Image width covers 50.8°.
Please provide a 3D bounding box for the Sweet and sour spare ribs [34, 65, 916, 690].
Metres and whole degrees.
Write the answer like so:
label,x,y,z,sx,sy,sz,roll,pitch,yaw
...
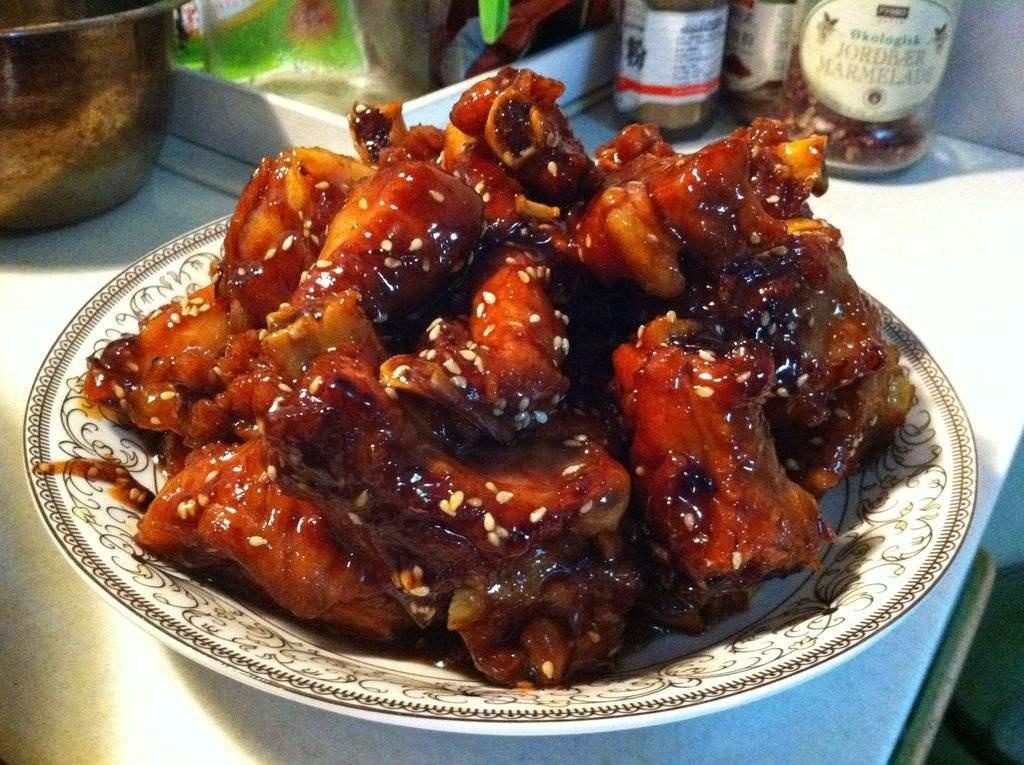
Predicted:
label,x,y,z,sx,sy,sz,roll,pitch,yaw
Sweet and sour spare ribs,0.050,-0.001,1.693,1.239,0.612,0.816,-26,51,-20
